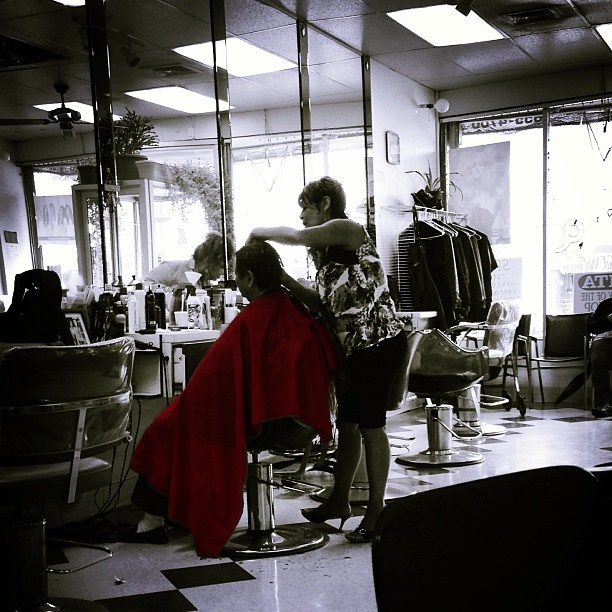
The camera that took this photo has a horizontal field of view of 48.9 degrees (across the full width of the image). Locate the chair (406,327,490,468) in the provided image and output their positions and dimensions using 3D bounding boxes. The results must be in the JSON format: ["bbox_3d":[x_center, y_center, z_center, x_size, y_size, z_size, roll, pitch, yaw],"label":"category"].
[{"bbox_3d":[0.766,0.499,3.784,0.474,0.741,0.765,-1,0,41],"label":"chair"}]

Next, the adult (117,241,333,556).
[{"bbox_3d":[-0.240,0.276,2.395,0.610,1.009,0.654,-1,11,-11],"label":"adult"}]

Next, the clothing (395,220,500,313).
[{"bbox_3d":[1.122,-0.314,5.540,0.449,1.190,0.794,-3,-3,40],"label":"clothing"}]

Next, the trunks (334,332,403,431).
[{"bbox_3d":[0.229,0.256,2.438,0.283,0.378,0.283,2,1,30],"label":"trunks"}]

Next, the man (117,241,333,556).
[{"bbox_3d":[-0.227,0.258,2.380,0.585,1.021,0.623,3,12,9],"label":"man"}]

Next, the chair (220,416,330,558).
[{"bbox_3d":[-0.138,0.622,2.421,0.429,0.463,0.436,-1,-2,-7],"label":"chair"}]
